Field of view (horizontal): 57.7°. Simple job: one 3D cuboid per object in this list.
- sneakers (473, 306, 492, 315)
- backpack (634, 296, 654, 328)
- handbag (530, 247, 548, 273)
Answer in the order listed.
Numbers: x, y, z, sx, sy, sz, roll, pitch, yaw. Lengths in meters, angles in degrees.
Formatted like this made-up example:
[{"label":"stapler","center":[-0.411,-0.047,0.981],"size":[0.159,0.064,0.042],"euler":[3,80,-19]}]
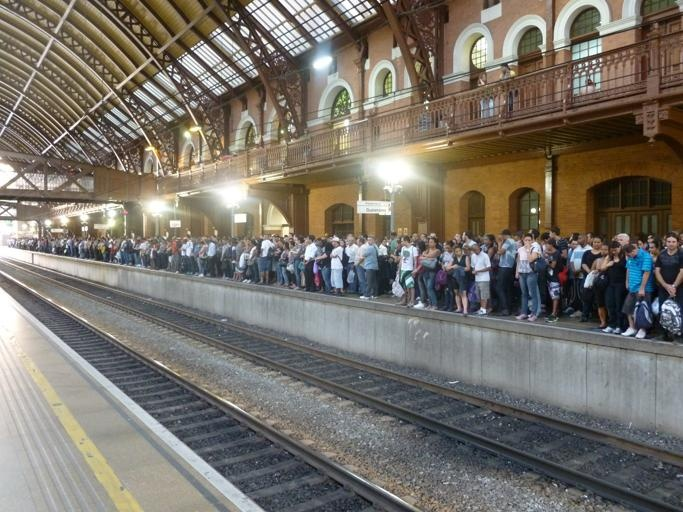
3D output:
[{"label":"sneakers","center":[3.340,1.286,14.672],"size":[0.483,0.227,0.169],"euler":[3,-2,-29]},{"label":"backpack","center":[5.831,1.120,11.994],"size":[0.368,0.588,0.329],"euler":[-1,12,6]},{"label":"handbag","center":[4.443,0.102,14.093],"size":[0.440,0.668,0.218],"euler":[-4,5,8]}]
